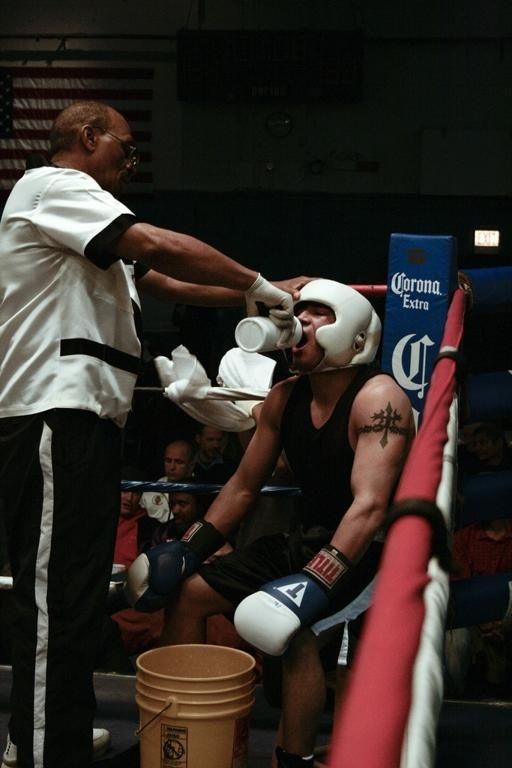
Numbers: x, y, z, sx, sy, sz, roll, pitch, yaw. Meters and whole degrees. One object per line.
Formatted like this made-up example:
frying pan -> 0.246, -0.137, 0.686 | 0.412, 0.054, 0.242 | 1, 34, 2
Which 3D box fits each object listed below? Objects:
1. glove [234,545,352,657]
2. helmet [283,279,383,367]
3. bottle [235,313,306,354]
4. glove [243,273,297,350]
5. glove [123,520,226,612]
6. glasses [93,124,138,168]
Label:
glove -> 0.108, 0.518, 1.881 | 0.188, 0.126, 0.355 | 25, 40, 28
helmet -> 0.259, -0.178, 2.160 | 0.313, 0.263, 0.224 | -3, 4, -25
bottle -> 0.047, -0.146, 2.139 | 0.178, 0.094, 0.100 | -2, 31, -47
glove -> 0.070, -0.225, 2.161 | 0.150, 0.213, 0.222 | -4, 20, 22
glove -> -0.246, 0.528, 2.161 | 0.181, 0.105, 0.281 | -10, 19, 43
glasses -> -0.432, -0.724, 2.262 | 0.093, 0.026, 0.090 | 26, 3, 11
